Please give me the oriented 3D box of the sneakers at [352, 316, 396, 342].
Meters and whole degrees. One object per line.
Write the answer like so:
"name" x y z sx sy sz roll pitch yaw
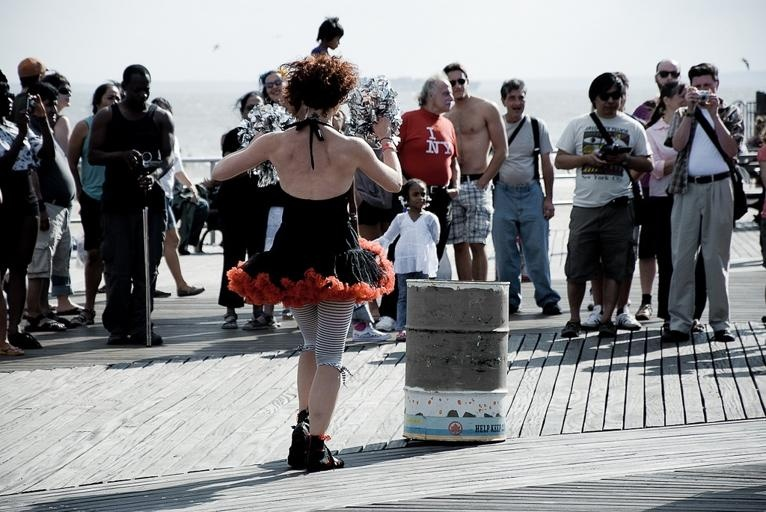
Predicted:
"sneakers" -0.044 0.666 9.864 0.462 0.214 0.151 0 4 -1

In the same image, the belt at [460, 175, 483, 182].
"belt" 0.876 -0.771 10.776 0.195 0.079 0.057 2 13 12

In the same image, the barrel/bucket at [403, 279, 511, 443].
"barrel/bucket" 0.496 0.696 7.509 0.687 1.066 0.340 -1 13 0

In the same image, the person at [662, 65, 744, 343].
"person" 2.783 -0.455 9.575 0.626 2.317 0.760 2 13 14

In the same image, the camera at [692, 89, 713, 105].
"camera" 2.797 -1.379 9.477 0.144 0.123 0.261 4 14 23

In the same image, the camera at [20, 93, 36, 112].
"camera" -3.000 -1.301 9.290 0.118 0.156 0.058 5 -4 -37

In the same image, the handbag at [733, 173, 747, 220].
"handbag" 3.092 -0.539 9.517 0.114 0.422 0.245 2 13 17

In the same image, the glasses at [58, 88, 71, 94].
"glasses" -3.182 -1.665 11.035 0.069 0.069 0.023 7 1 -44

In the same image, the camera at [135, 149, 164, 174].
"camera" -2.030 -0.825 9.549 0.233 0.110 0.307 0 3 -4

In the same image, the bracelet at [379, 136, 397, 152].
"bracelet" 0.048 -0.728 7.393 0.099 0.138 0.162 -3 20 1

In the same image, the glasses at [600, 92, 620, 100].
"glasses" 2.005 -1.418 9.674 0.104 0.039 0.106 -4 25 0

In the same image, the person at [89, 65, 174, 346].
"person" -2.170 -0.451 9.690 0.715 2.452 0.473 -4 13 -12

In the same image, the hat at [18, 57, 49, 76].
"hat" -3.226 -1.747 10.203 0.171 0.127 0.227 -1 20 16

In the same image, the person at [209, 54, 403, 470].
"person" -0.414 0.001 7.276 0.797 2.601 0.945 9 16 39
